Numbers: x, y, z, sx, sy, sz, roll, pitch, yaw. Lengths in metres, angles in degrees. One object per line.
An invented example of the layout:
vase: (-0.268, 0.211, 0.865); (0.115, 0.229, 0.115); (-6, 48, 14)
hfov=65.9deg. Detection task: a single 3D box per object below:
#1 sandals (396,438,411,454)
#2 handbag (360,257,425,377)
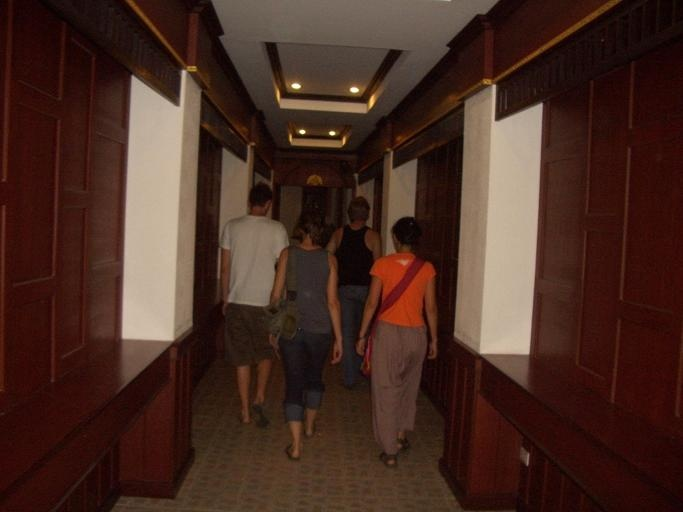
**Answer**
sandals: (0.488, 1.463, 4.094); (0.067, 0.111, 0.107); (-10, -31, 21)
handbag: (0.312, 0.386, 3.924); (0.457, 0.912, 0.165); (11, 4, -37)
